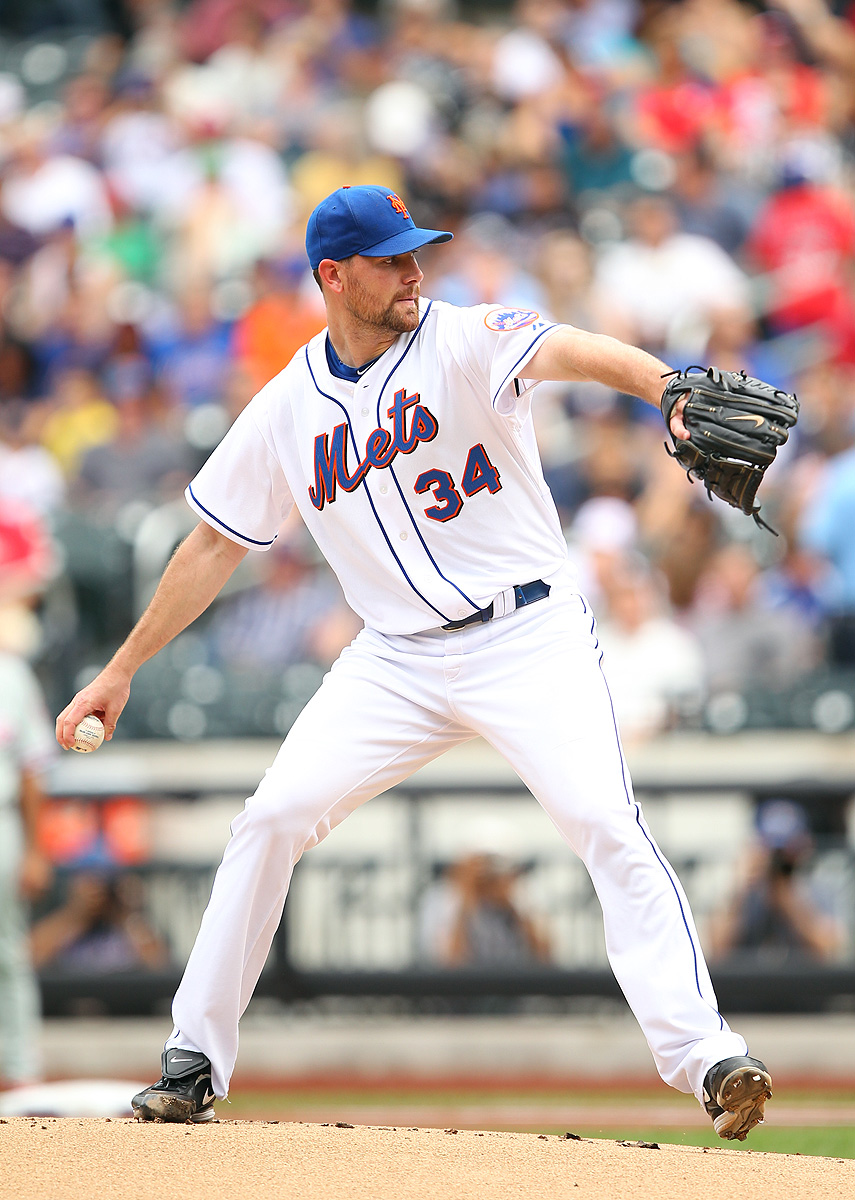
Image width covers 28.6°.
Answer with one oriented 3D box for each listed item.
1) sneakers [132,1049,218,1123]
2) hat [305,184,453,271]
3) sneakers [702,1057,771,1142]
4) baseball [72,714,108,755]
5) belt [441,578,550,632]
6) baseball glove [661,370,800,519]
[{"bbox_3d":[-0.457,0.885,3.038,0.127,0.111,0.209,-2,-16,15],"label":"sneakers"},{"bbox_3d":[-0.085,-0.699,3.059,0.291,0.129,0.176,3,22,34],"label":"hat"},{"bbox_3d":[0.488,0.801,2.717,0.084,0.166,0.081,4,38,-20],"label":"sneakers"},{"bbox_3d":[-0.641,0.249,3.169,0.061,0.065,0.098,1,-4,-11],"label":"baseball"},{"bbox_3d":[0.125,0.012,3.008,0.137,0.032,0.097,-23,-6,-2],"label":"belt"},{"bbox_3d":[0.446,-0.279,2.616,0.119,0.176,0.235,31,10,-11],"label":"baseball glove"}]
